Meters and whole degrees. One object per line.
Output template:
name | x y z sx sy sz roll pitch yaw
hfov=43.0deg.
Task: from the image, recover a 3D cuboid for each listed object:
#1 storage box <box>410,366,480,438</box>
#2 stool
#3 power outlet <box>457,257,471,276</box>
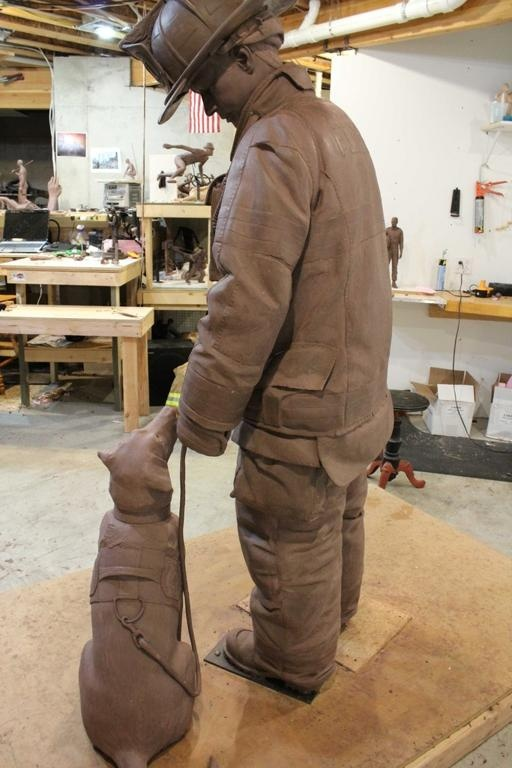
storage box | 1.461 0.140 5.092 0.557 0.557 0.570 -1 7 0
stool | 0.831 0.342 3.897 0.414 0.483 0.432 5 -3 -43
power outlet | 1.645 -0.945 5.141 0.133 0.138 0.015 -5 18 12
